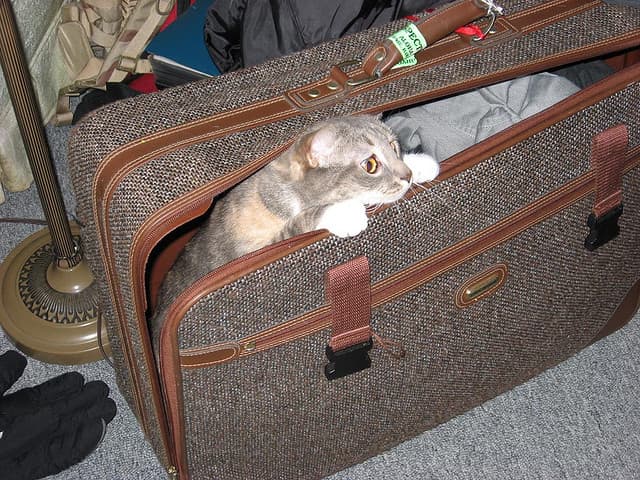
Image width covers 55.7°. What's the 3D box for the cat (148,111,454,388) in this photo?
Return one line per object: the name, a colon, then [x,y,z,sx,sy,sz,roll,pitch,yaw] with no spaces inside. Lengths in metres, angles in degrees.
cat: [-0.049,-0.029,1.056,0.672,0.267,0.253,-24,56,0]
